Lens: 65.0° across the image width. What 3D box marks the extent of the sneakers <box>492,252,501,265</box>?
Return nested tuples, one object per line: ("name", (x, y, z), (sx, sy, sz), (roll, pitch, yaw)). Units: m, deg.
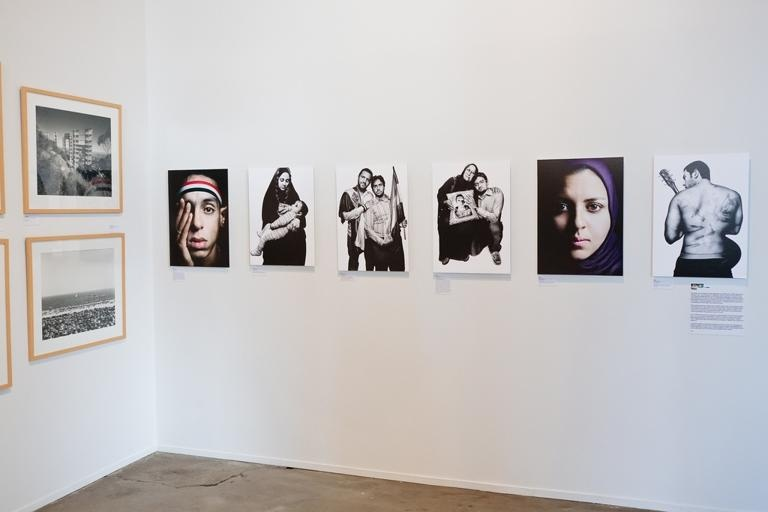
("sneakers", (1.227, 0.017, 6.608), (0.075, 0.129, 0.037), (-5, -1, 11))
